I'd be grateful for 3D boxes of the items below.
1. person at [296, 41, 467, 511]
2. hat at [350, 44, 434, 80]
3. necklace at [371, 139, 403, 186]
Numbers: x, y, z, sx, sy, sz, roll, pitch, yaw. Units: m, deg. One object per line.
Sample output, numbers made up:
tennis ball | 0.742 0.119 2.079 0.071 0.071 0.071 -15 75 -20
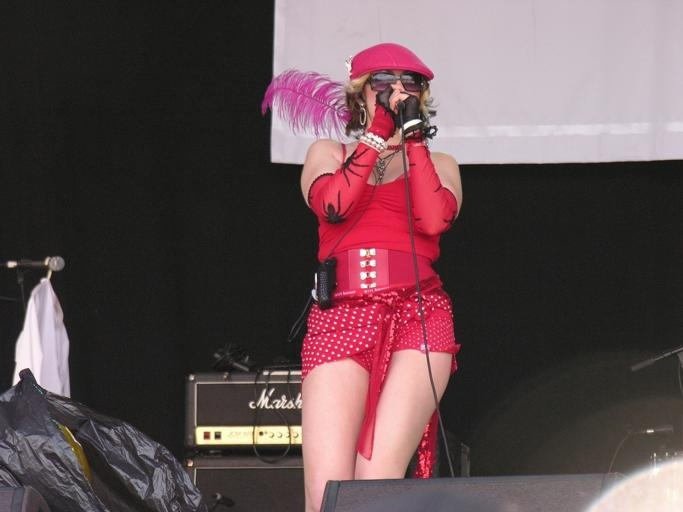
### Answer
person | 0.170 0.083 5.487 0.711 2.027 0.651 2 4 -3
hat | 0.212 -0.871 5.691 0.247 0.125 0.270 3 0 -25
necklace | 0.196 -0.408 5.607 0.116 0.206 0.085 0 10 -11
